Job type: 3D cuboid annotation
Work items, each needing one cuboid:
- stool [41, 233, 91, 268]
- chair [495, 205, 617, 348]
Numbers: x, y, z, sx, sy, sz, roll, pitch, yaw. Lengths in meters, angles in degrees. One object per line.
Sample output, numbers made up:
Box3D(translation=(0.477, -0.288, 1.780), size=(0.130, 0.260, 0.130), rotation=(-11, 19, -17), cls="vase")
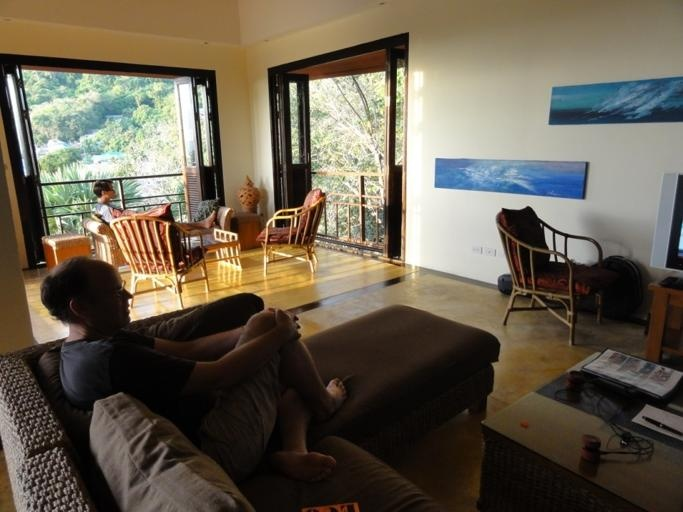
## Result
Box3D(translation=(-2.657, -0.077, 4.508), size=(0.340, 0.340, 0.334), rotation=(-6, 12, -40), cls="stool")
Box3D(translation=(1.609, 0.121, 3.877), size=(1.049, 1.183, 0.909), rotation=(9, 19, 43), cls="chair")
